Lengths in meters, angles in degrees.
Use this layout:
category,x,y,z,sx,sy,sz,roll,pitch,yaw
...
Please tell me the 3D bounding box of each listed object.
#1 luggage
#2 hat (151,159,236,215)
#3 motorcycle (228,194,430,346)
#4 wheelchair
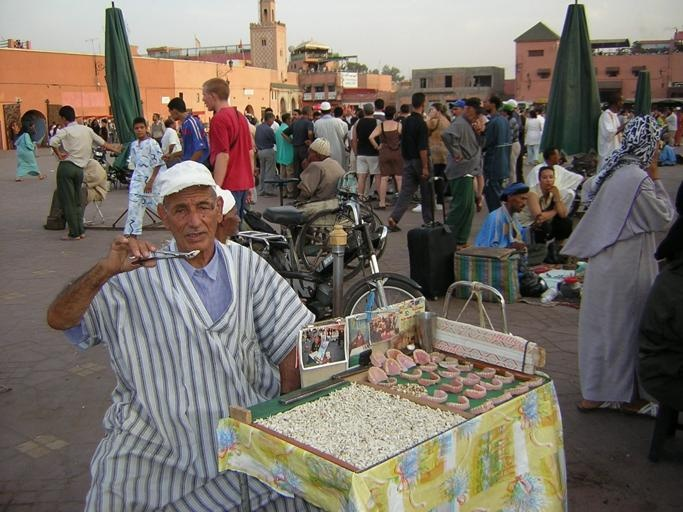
category,x,y,z,sx,sy,sz,roll,pitch,yaw
luggage,1.124,0.015,6.859,0.403,1.007,0.586,5,18,34
hat,-0.734,-0.358,2.657,0.297,0.289,0.232,-9,19,-36
motorcycle,-0.102,0.066,4.662,1.549,1.112,0.664,0,18,-26
wheelchair,-0.021,-0.235,5.881,1.127,1.385,0.936,15,19,40
